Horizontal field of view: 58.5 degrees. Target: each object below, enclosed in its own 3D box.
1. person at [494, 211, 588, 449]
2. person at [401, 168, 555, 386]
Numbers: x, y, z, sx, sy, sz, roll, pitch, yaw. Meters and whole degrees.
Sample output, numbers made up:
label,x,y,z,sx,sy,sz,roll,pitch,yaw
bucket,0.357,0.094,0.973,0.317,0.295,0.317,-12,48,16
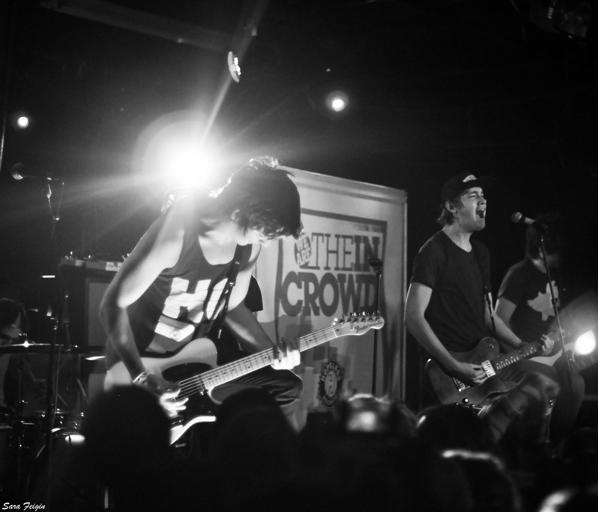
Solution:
label,x,y,z,sx,sy,sz,roll,pitch,yaw
person,2.290,0.186,5.157,0.600,1.875,0.210,0,-47,35
person,1.447,0.097,4.423,0.860,1.635,0.788,-3,2,-20
